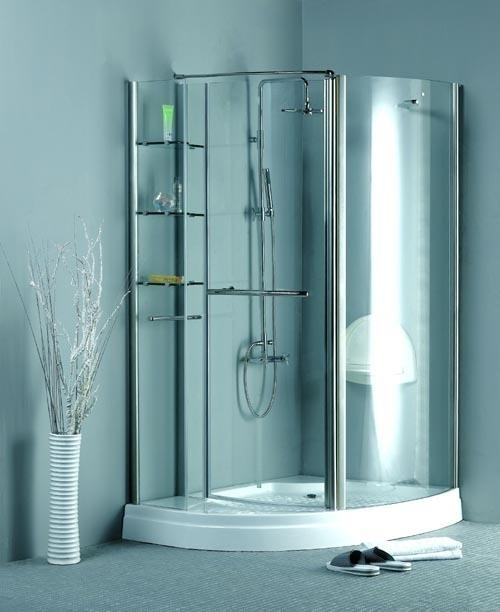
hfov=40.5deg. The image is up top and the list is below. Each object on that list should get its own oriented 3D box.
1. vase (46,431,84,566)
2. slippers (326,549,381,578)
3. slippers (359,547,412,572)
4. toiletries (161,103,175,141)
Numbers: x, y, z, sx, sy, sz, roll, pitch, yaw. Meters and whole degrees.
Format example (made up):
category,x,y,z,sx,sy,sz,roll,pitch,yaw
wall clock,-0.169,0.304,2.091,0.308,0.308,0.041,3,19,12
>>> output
category,x,y,z,sx,sy,sz,roll,pitch,yaw
vase,-0.773,0.797,2.800,0.131,0.537,0.109,-1,1,-7
slippers,0.411,1.013,2.697,0.151,0.065,0.093,1,-2,20
slippers,0.545,1.044,2.766,0.236,0.095,0.087,-3,-3,36
toiletries,-0.397,-0.880,3.259,0.062,0.177,0.019,-1,1,-4
